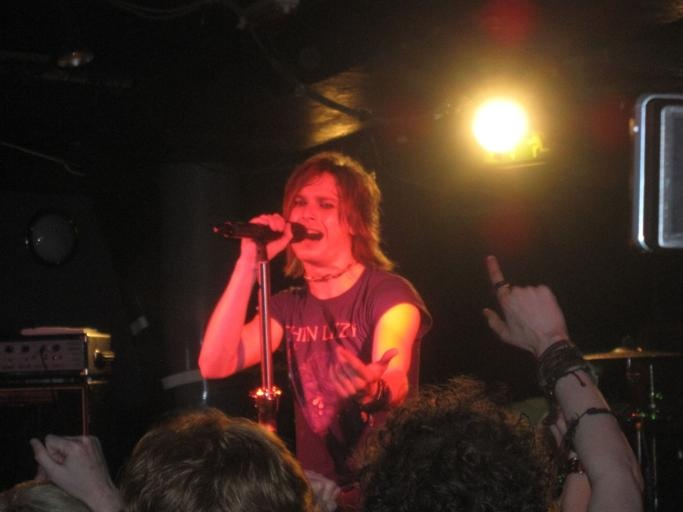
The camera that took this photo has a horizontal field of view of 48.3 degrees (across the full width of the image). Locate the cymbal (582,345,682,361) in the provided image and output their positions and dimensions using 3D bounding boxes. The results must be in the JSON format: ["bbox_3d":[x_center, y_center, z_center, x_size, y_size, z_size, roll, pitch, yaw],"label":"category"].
[{"bbox_3d":[1.372,0.469,3.613,0.536,0.067,0.277,-2,-5,-4],"label":"cymbal"}]
